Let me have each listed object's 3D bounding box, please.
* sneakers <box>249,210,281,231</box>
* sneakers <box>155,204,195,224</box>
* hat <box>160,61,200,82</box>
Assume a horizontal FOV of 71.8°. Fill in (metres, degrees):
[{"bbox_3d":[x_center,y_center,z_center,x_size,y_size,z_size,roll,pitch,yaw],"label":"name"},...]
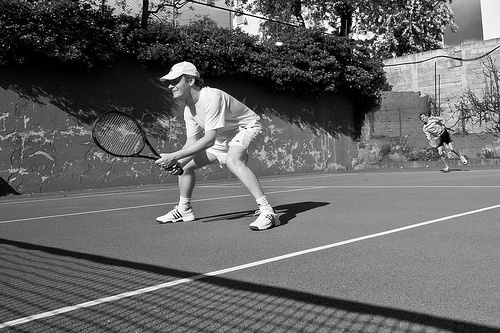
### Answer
[{"bbox_3d":[0.195,0.683,4.461,0.194,0.235,0.498,2,8,43],"label":"sneakers"},{"bbox_3d":[-1.074,0.712,5.059,0.587,0.291,0.215,2,-4,-14],"label":"sneakers"},{"bbox_3d":[-0.943,-1.298,4.661,0.400,0.236,0.274,-6,6,-20],"label":"hat"}]
